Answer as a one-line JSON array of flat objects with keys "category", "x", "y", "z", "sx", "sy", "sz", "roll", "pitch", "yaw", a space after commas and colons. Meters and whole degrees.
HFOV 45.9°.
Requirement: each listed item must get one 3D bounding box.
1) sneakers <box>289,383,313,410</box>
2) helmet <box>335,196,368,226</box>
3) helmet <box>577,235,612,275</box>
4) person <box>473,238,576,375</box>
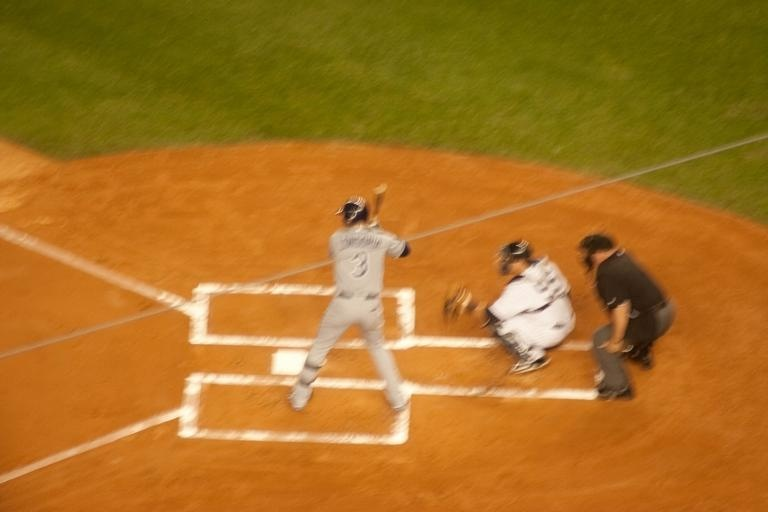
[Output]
[{"category": "sneakers", "x": -1.015, "y": 1.716, "z": 11.042, "sx": 0.250, "sy": 0.270, "sz": 0.346, "roll": 20, "pitch": 41, "yaw": -16}, {"category": "helmet", "x": -0.345, "y": -0.535, "z": 10.667, "sx": 0.409, "sy": 0.317, "sz": 0.230, "roll": -26, "pitch": 79, "yaw": 26}, {"category": "helmet", "x": 2.507, "y": -0.068, "z": 10.897, "sx": 0.331, "sy": 0.433, "sz": 0.414, "roll": 39, "pitch": 81, "yaw": 11}, {"category": "person", "x": 1.743, "y": 0.703, "z": 11.264, "sx": 1.345, "sy": 1.752, "sz": 1.019, "roll": 2, "pitch": 34, "yaw": 25}]
